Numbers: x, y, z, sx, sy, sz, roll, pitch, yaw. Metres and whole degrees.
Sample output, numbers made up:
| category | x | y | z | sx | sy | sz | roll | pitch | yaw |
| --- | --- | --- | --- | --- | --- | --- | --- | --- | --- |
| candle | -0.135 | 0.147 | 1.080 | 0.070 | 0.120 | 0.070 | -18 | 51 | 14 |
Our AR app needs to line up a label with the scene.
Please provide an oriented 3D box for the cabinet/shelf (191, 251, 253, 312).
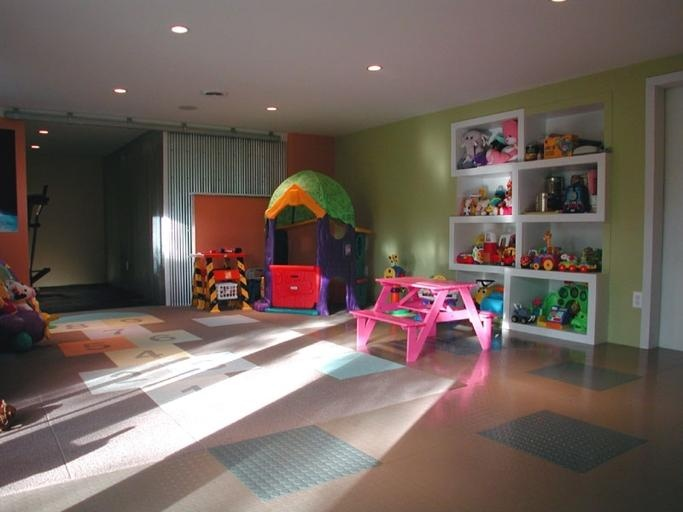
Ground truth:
| category | x | y | z | sx | sy | sz | roll | pitch | yaw |
| --- | --- | --- | --- | --- | --- | --- | --- | --- | --- |
| cabinet/shelf | -1.884 | 0.367 | 7.417 | 0.716 | 0.899 | 0.876 | -5 | 4 | -38 |

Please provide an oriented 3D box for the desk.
| category | x | y | z | sx | sy | sz | roll | pitch | yaw |
| --- | --- | --- | --- | --- | --- | --- | --- | --- | --- |
| desk | 0.991 | 0.653 | 5.280 | 1.107 | 0.774 | 1.192 | 4 | -9 | -14 |
